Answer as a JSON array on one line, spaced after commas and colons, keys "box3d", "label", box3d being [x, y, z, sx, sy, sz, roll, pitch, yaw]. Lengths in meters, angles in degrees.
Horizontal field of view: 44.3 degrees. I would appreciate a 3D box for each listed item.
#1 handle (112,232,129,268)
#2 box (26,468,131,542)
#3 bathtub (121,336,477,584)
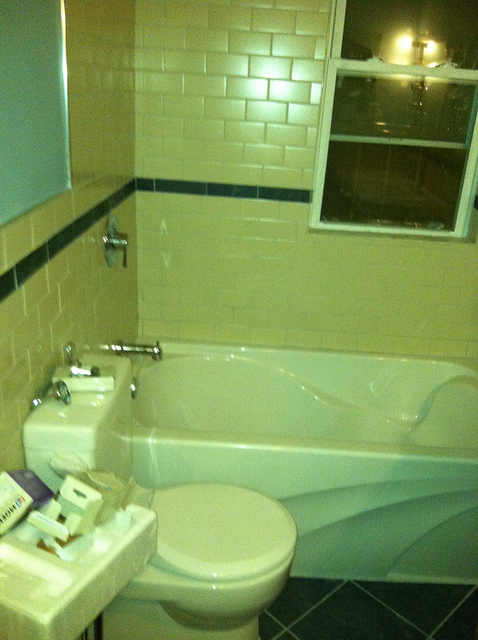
[{"box3d": [-0.456, -0.266, 2.244, 0.034, 0.128, 0.085, 3, 61, -7], "label": "handle"}, {"box3d": [-0.297, 0.361, 1.153, 0.088, 0.073, 0.161, 21, 23, 5], "label": "box"}, {"box3d": [0.323, 0.482, 2.421, 1.488, 0.592, 1.112, 5, 20, -6], "label": "bathtub"}]
